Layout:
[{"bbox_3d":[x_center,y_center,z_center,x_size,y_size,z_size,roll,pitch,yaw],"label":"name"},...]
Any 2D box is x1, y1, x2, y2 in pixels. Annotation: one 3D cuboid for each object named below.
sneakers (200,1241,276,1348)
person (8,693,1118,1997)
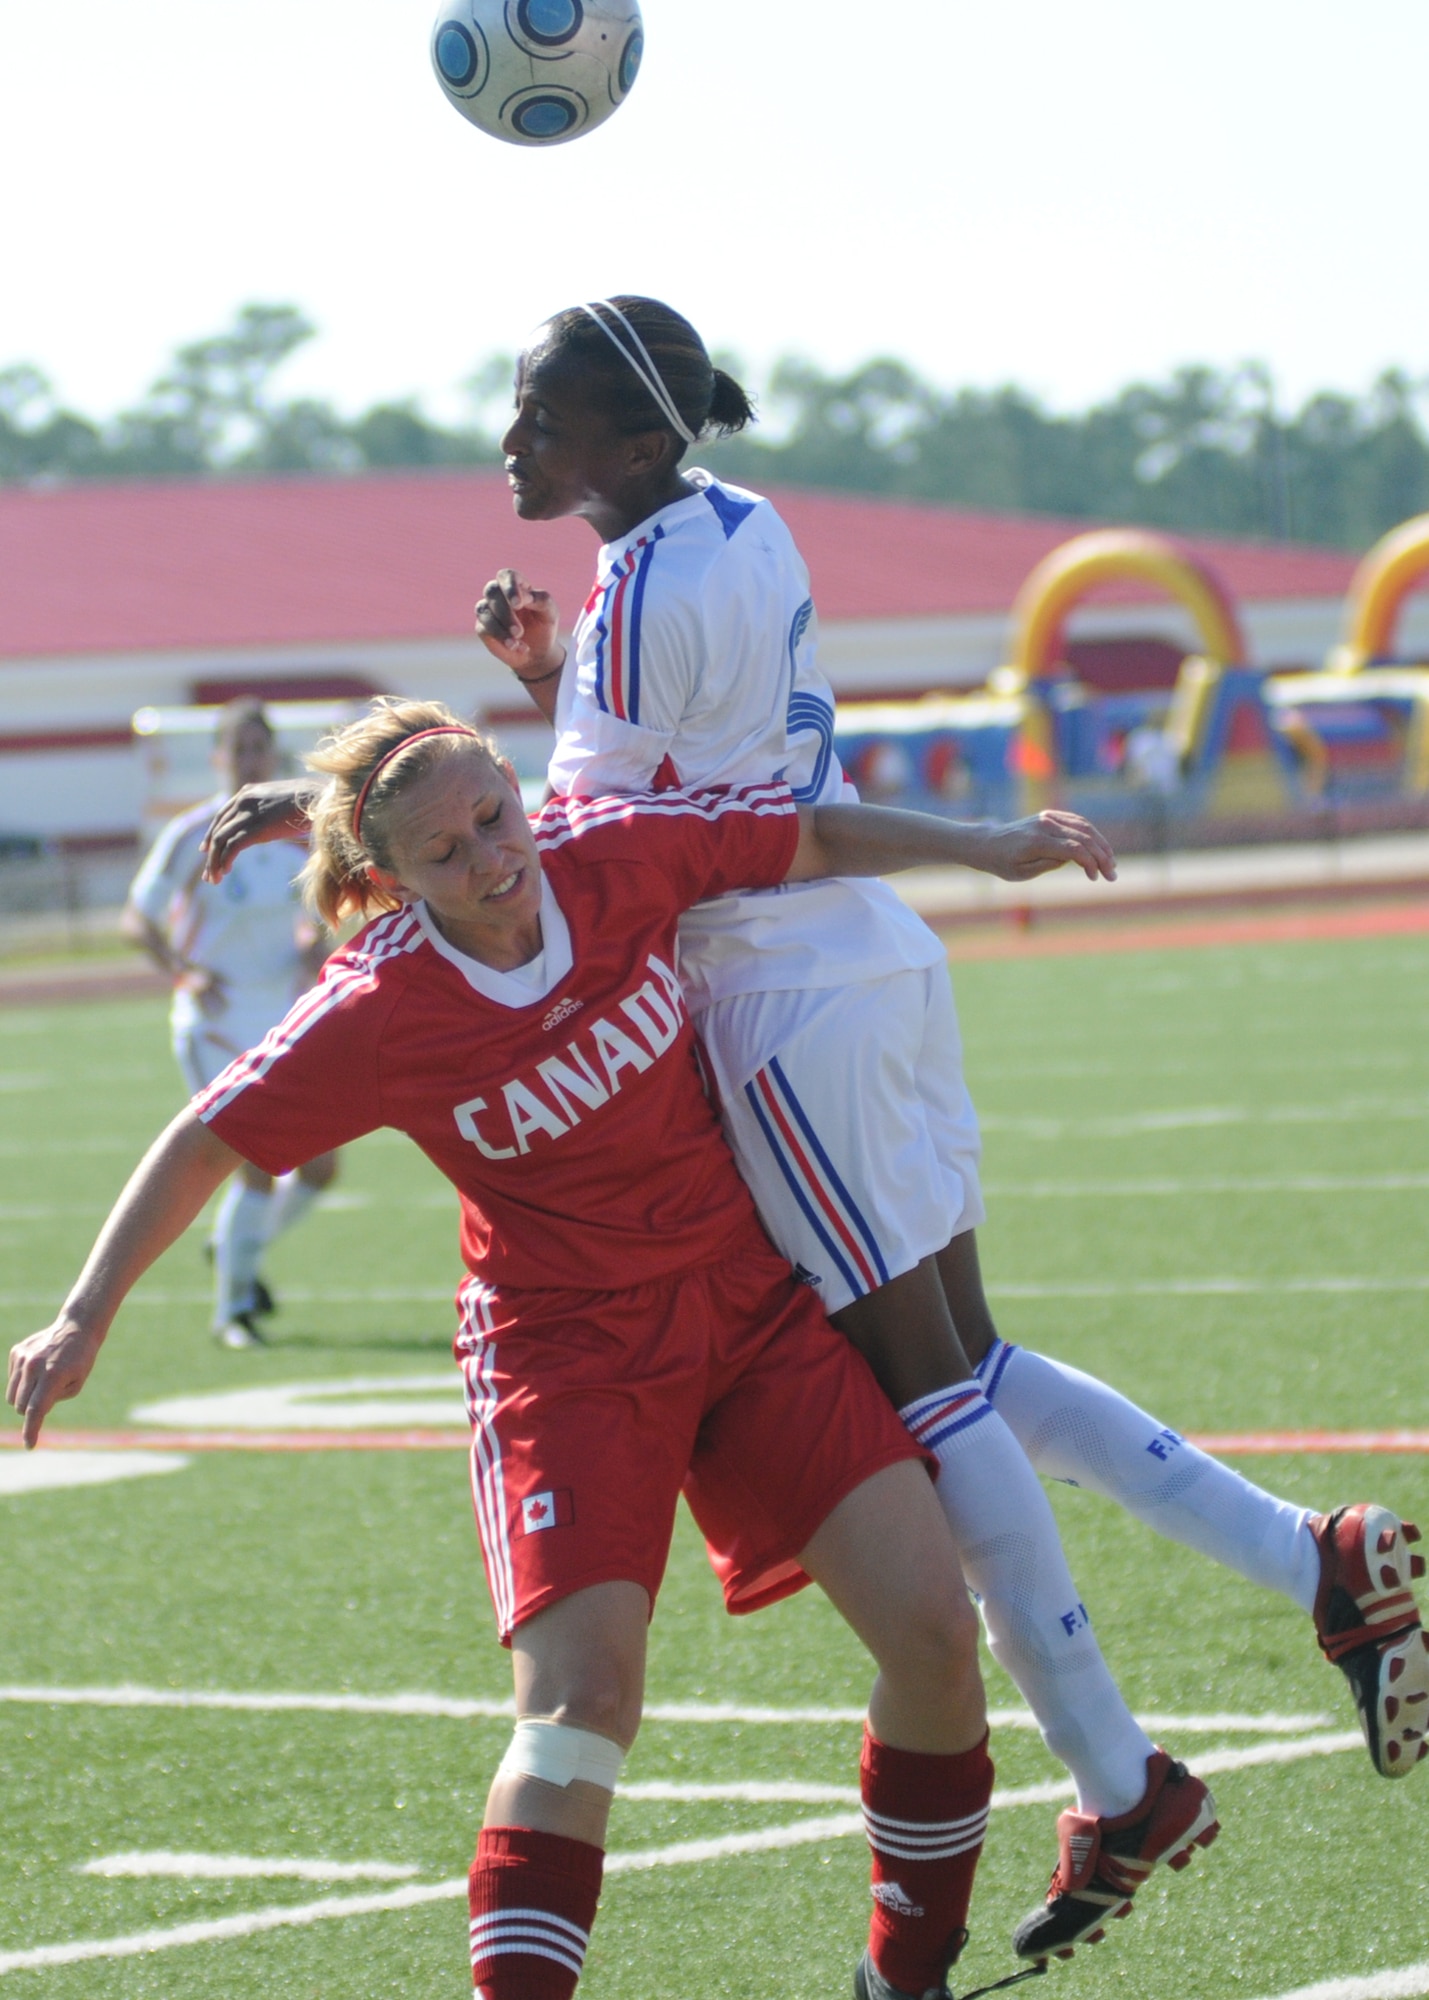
[{"bbox_3d":[-1.430,0.918,7.838,0.166,0.155,0.420,-3,11,-11],"label":"sneakers"},{"bbox_3d":[-0.138,0.434,3.127,0.867,1.587,0.988,1,9,30],"label":"person"}]
